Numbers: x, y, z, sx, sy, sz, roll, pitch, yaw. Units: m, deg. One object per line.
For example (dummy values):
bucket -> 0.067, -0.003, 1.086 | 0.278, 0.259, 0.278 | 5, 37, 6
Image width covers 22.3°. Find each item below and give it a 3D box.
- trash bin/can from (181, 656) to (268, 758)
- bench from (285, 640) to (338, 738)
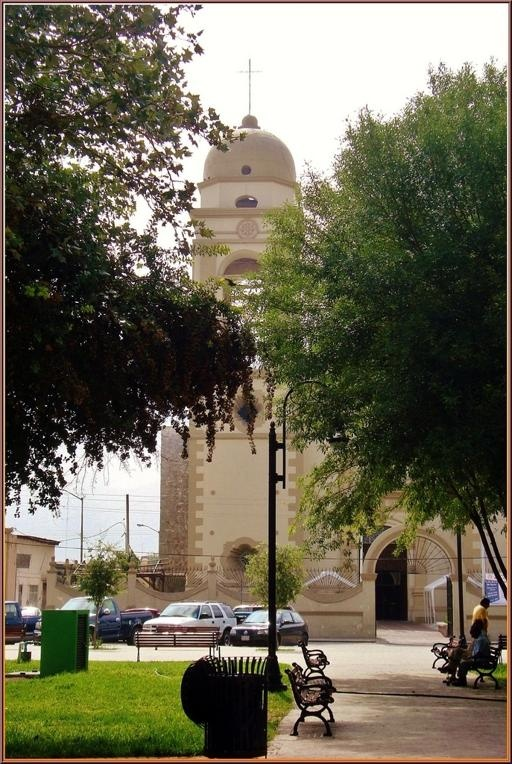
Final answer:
trash bin/can -> -0.194, 3.312, 13.463 | 0.918, 0.922, 0.810 | -6, -11, 29
bench -> 0.695, 3.752, 15.778 | 0.446, 0.646, 1.652 | -2, -16, 3
